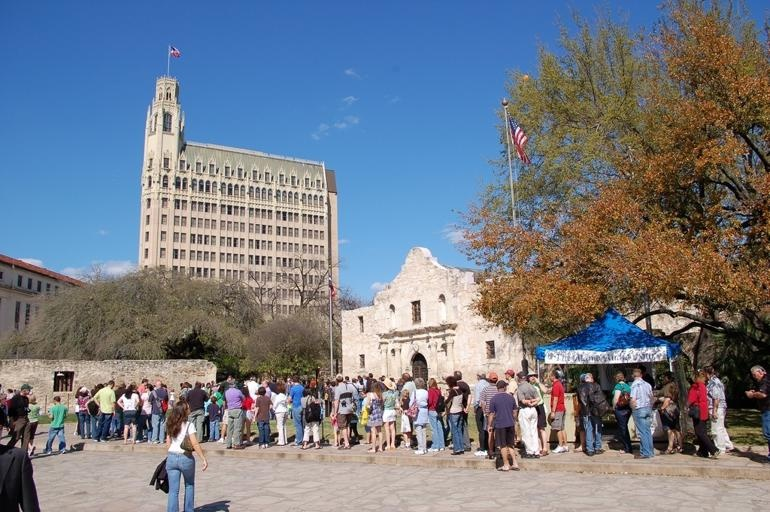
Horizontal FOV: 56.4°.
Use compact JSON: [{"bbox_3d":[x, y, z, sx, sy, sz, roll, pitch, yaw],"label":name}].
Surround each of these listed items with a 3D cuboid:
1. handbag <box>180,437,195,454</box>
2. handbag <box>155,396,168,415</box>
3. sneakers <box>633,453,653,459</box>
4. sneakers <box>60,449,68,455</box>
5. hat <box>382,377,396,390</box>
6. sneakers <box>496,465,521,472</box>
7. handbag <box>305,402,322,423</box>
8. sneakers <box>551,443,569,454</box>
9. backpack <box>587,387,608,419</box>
[{"bbox_3d":[-5.548,5.211,20.052,0.385,0.388,0.185,13,-19,-35],"label":"handbag"},{"bbox_3d":[-9.593,6.394,30.902,0.518,0.668,0.290,2,-2,11],"label":"handbag"},{"bbox_3d":[8.764,6.757,24.479,0.564,0.243,0.215,-6,-13,12],"label":"sneakers"},{"bbox_3d":[-13.516,8.135,30.167,0.400,0.181,0.149,-18,-20,41],"label":"sneakers"},{"bbox_3d":[0.146,5.262,29.970,0.649,0.189,0.653,18,-13,-2],"label":"hat"},{"bbox_3d":[4.162,7.080,24.185,0.628,0.153,0.277,-1,-15,13],"label":"sneakers"},{"bbox_3d":[-2.842,6.046,28.192,0.719,0.850,0.432,7,-11,-36],"label":"handbag"},{"bbox_3d":[6.292,6.858,25.738,0.621,0.288,0.215,-9,-21,16],"label":"sneakers"},{"bbox_3d":[7.333,4.943,24.906,0.643,1.137,0.351,-7,-16,14],"label":"backpack"}]
